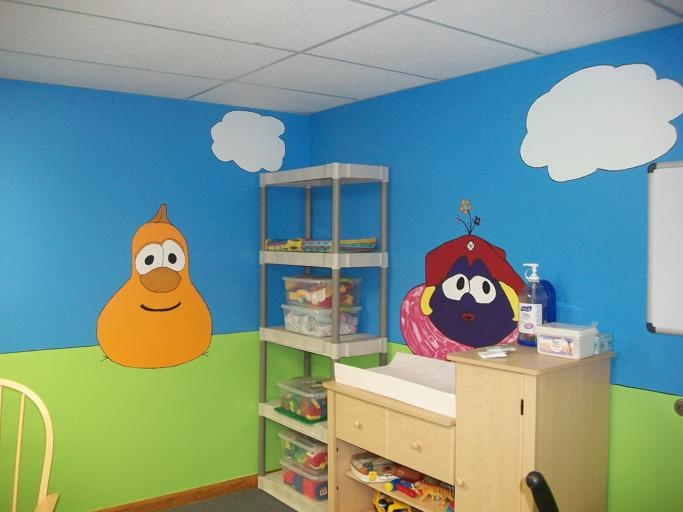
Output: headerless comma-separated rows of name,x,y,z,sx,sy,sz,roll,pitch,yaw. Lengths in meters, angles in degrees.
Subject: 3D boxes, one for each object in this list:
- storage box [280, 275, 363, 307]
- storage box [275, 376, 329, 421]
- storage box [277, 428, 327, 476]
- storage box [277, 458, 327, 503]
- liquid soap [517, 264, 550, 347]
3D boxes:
storage box,-0.157,0.225,3.676,0.227,0.131,0.325,2,0,-40
storage box,-0.246,0.905,3.717,0.229,0.165,0.335,2,1,-34
storage box,-0.256,1.258,3.672,0.176,0.141,0.271,1,-1,-37
storage box,-0.234,1.437,3.649,0.174,0.110,0.255,2,-1,-41
liquid soap,0.941,0.230,2.763,0.154,0.391,0.326,-1,1,20
